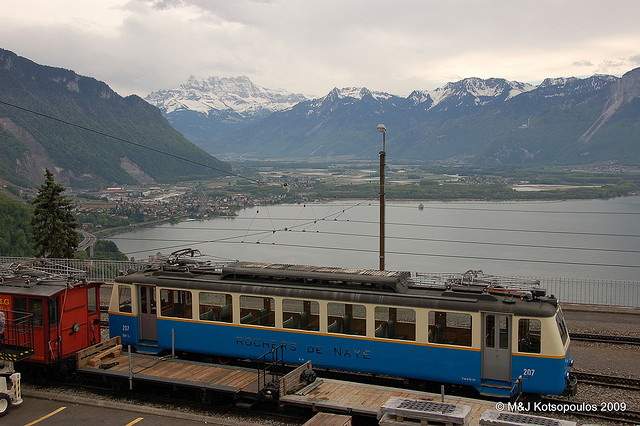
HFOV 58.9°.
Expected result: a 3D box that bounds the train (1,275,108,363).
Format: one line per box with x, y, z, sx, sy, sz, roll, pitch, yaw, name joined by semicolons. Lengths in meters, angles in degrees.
-10.946;4.250;23.481;4.651;2.388;2.660;4;3;33;train
